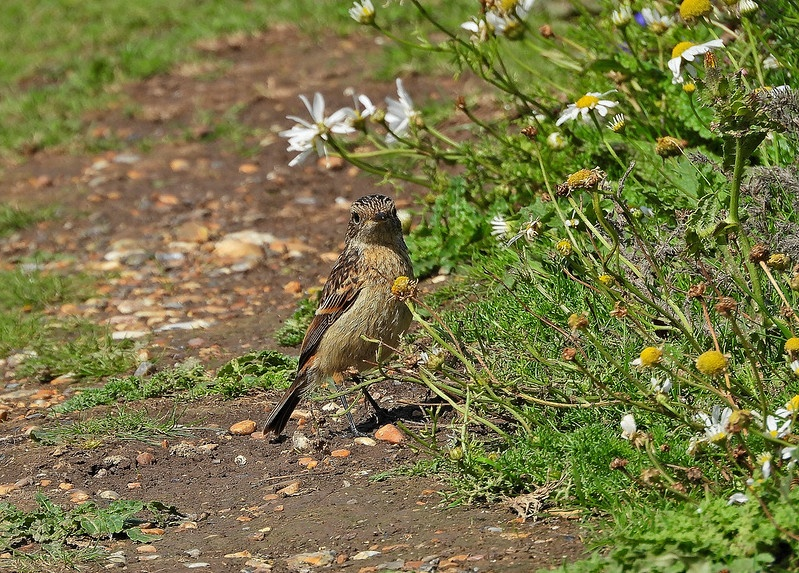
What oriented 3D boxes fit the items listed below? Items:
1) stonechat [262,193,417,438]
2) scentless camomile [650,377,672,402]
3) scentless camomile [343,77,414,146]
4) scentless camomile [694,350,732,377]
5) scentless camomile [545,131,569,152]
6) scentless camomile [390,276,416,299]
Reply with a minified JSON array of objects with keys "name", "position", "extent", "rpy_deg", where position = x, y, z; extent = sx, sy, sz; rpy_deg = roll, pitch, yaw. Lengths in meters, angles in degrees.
[{"name":"stonechat","position":[-0.287,0.076,4.995],"extent":[0.926,1.533,1.266],"rpy_deg":[-2,21,-15]},{"name":"scentless camomile","position":[1.074,0.423,3.183],"extent":[0.113,0.148,0.059],"rpy_deg":[-5,65,-8]},{"name":"scentless camomile","position":[-0.083,-1.086,5.127],"extent":[0.498,0.560,0.378],"rpy_deg":[-12,23,-12]},{"name":"scentless camomile","position":[1.132,0.279,2.807],"extent":[0.109,0.097,0.058],"rpy_deg":[20,2,13]},{"name":"scentless camomile","position":[1.118,-1.040,5.569],"extent":[0.156,0.079,0.137],"rpy_deg":[8,60,-18]},{"name":"scentless camomile","position":[0.026,0.015,3.598],"extent":[0.115,0.100,0.074],"rpy_deg":[-8,-13,1]}]
